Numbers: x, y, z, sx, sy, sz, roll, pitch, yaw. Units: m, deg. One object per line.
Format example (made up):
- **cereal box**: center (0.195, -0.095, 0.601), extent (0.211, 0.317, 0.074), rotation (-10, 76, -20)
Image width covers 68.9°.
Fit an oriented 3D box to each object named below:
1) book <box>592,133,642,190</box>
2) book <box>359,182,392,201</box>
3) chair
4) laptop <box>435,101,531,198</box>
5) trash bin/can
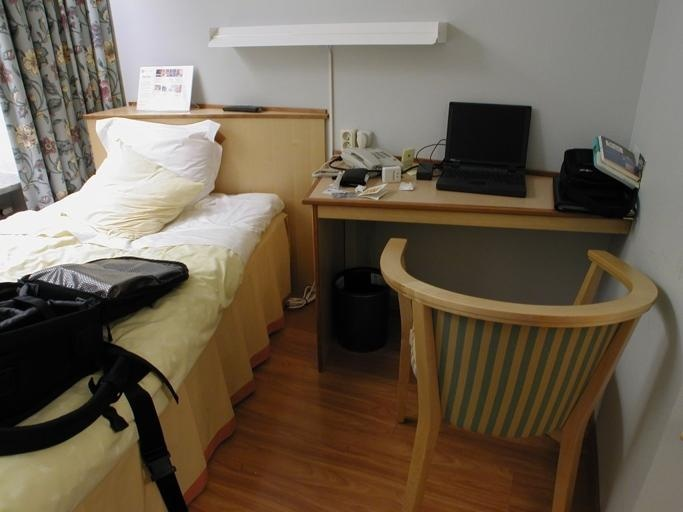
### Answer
- **book**: center (1.190, -0.414, 2.151), extent (0.199, 0.176, 0.305), rotation (12, 25, 25)
- **book**: center (0.151, -0.303, 2.304), extent (0.091, 0.039, 0.104), rotation (5, 39, 32)
- **chair**: center (0.589, 0.355, 2.052), extent (0.918, 1.184, 0.897), rotation (5, 38, 8)
- **laptop**: center (0.709, -0.540, 2.482), extent (0.475, 0.525, 0.358), rotation (8, 21, 6)
- **trash bin/can**: center (0.064, 0.277, 2.729), extent (0.364, 0.425, 0.391), rotation (-2, 30, -4)
